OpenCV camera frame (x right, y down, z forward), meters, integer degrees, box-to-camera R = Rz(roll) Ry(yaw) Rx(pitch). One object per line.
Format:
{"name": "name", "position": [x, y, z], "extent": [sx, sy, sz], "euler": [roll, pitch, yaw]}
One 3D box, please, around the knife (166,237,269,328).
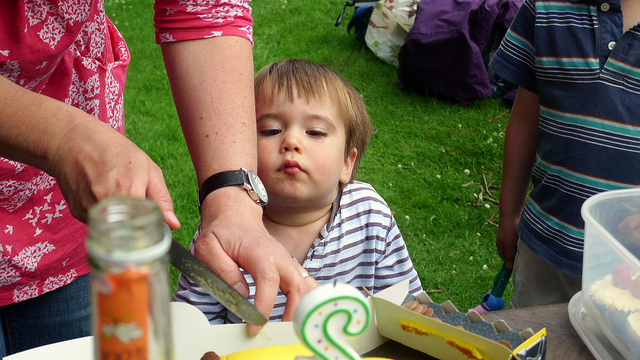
{"name": "knife", "position": [-0.341, 0.330, 1.707], "extent": [0.450, 0.018, 0.062], "euler": [35, 83, 21]}

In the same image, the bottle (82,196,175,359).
{"name": "bottle", "position": [-0.493, 0.274, 1.348], "extent": [0.242, 0.419, 0.227], "euler": [0, 34, 0]}
